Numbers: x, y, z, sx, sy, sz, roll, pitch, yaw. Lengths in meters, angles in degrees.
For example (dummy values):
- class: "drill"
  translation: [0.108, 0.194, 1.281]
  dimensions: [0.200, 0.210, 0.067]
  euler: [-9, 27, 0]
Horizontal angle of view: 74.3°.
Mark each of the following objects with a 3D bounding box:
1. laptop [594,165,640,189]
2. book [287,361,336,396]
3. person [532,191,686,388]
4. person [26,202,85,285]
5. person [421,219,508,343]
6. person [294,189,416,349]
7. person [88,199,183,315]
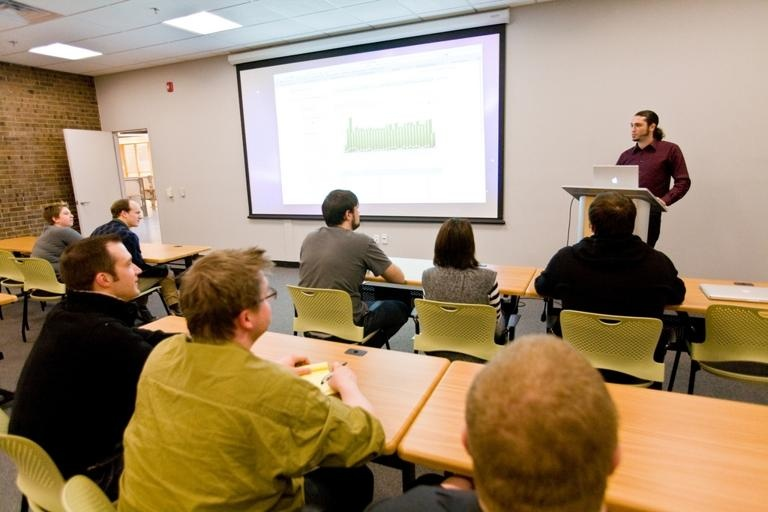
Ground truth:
- class: "laptop"
  translation: [1.654, -0.566, 3.639]
  dimensions: [0.293, 0.157, 0.162]
  euler: [4, 11, 29]
- class: "book"
  translation: [-0.312, 0.564, 2.359]
  dimensions: [0.150, 0.026, 0.226]
  euler: [-5, 26, -18]
- class: "person"
  translation: [1.425, 0.389, 3.196]
  dimensions: [0.772, 1.458, 0.758]
  euler: [-1, 10, 9]
- class: "person"
  translation: [-3.394, -0.137, 5.340]
  dimensions: [0.449, 0.814, 0.554]
  euler: [16, 20, 38]
- class: "person"
  translation: [0.517, 0.288, 3.303]
  dimensions: [0.584, 1.066, 0.568]
  euler: [5, 16, 20]
- class: "person"
  translation: [-0.265, 0.267, 3.861]
  dimensions: [0.814, 1.464, 0.877]
  euler: [3, 8, 25]
- class: "person"
  translation: [-2.472, 0.056, 5.131]
  dimensions: [0.863, 1.210, 0.516]
  euler: [-2, 14, -41]
